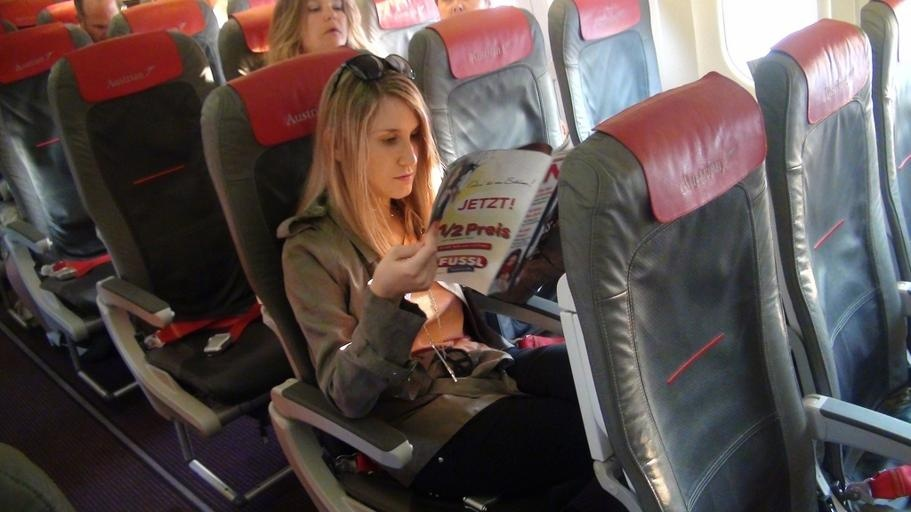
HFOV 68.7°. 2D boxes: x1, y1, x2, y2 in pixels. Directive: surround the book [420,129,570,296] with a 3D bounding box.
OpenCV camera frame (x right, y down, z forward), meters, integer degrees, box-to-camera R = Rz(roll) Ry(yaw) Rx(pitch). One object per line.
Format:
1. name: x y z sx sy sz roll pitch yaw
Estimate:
1. book: 0.131 -0.085 1.944 0.399 0.443 0.145 -21 32 -24
